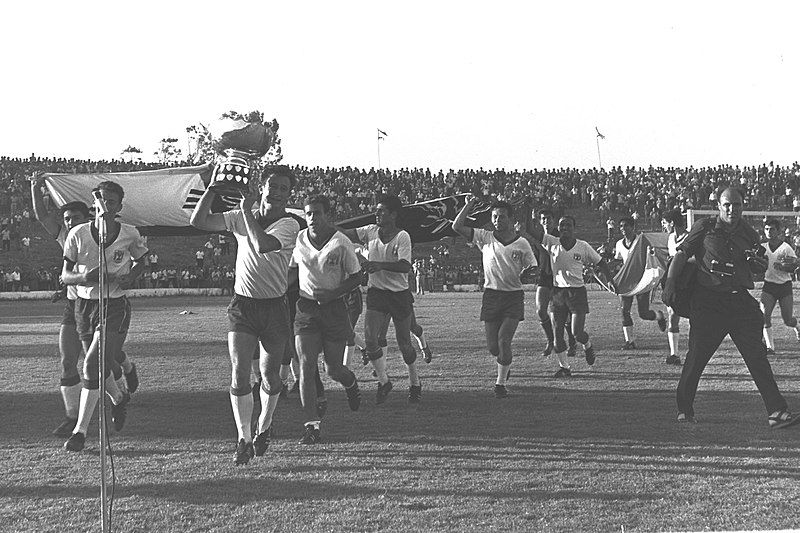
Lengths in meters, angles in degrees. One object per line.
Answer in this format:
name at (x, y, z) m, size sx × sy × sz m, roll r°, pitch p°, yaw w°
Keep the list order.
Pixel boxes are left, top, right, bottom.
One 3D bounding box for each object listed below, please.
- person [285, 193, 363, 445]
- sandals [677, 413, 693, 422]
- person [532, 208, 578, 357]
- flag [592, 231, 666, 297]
person at (-1.076, 0.632, 18.686) m, size 1.109 × 2.789 × 1.175 m, roll 0°, pitch 0°, yaw -19°
sandals at (3.696, 1.972, 18.706) m, size 0.114 × 0.112 × 0.144 m, roll 2°, pitch -15°, yaw -22°
person at (2.657, 0.280, 24.027) m, size 0.902 × 2.528 × 0.803 m, roll 1°, pitch -1°, yaw 0°
flag at (4.415, 0.066, 26.663) m, size 1.033 × 1.664 × 2.234 m, roll 2°, pitch 1°, yaw 1°
